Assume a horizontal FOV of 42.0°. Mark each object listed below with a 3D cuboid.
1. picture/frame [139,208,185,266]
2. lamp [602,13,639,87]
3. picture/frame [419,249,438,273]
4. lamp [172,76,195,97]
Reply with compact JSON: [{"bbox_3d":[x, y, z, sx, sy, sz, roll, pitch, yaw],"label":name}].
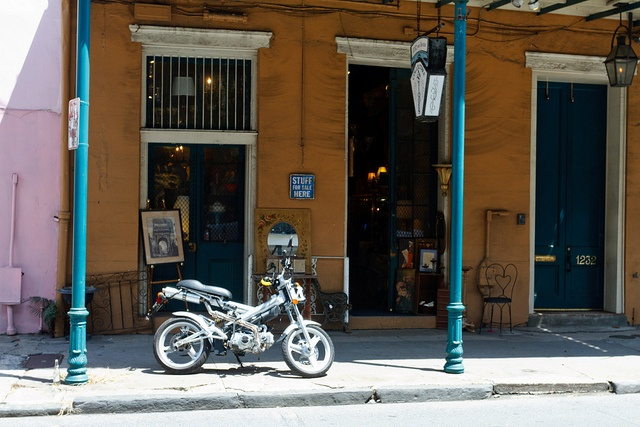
[{"bbox_3d":[-3.256,0.464,17.076,0.667,1.193,0.520,-3,-4,9],"label":"picture/frame"},{"bbox_3d":[6.301,-3.275,17.434,0.588,1.694,0.654,2,-2,0],"label":"lamp"},{"bbox_3d":[2.395,1.056,18.362,0.477,0.682,0.086,1,-12,3],"label":"picture/frame"},{"bbox_3d":[-2.873,-2.633,17.424,0.378,0.431,0.503,1,6,-12],"label":"lamp"}]
